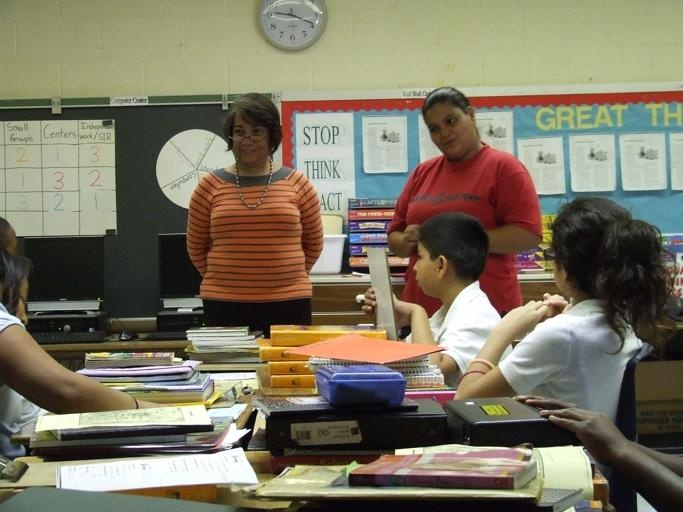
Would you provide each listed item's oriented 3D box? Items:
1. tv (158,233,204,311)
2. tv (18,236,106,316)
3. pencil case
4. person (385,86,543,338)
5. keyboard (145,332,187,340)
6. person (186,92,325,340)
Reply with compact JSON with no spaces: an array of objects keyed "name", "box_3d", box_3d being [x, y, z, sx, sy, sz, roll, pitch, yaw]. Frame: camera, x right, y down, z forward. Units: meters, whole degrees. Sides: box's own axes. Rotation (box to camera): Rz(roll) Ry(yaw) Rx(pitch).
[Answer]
[{"name":"tv","box_3d":[-0.920,0.086,3.757,0.294,0.397,0.084,1,8,-15]},{"name":"tv","box_3d":[-1.517,0.119,3.632,0.465,0.351,0.044,1,-7,-3]},{"name":"pencil case","box_3d":[0.040,0.273,1.396,0.203,0.047,0.145,0,9,-18]},{"name":"person","box_3d":[0.462,-0.182,2.655,0.547,0.901,0.461,2,11,-1]},{"name":"keyboard","box_3d":[-0.917,0.422,3.536,0.205,0.041,0.174,0,-2,-7]},{"name":"person","box_3d":[-0.348,-0.160,2.679,0.543,0.908,0.286,-2,0,-4]}]
